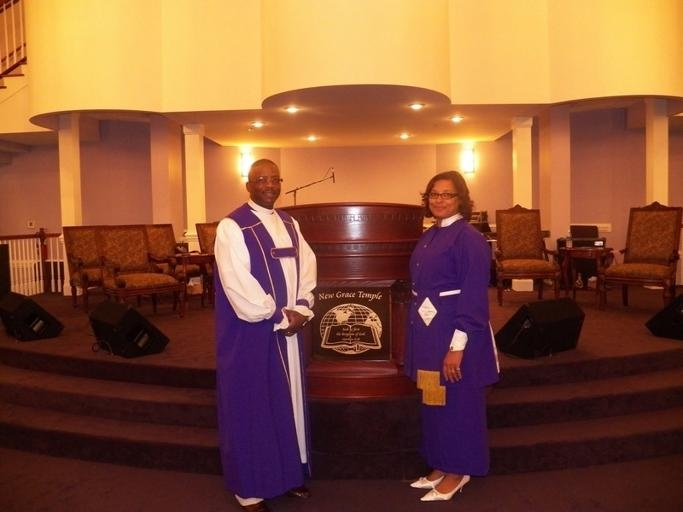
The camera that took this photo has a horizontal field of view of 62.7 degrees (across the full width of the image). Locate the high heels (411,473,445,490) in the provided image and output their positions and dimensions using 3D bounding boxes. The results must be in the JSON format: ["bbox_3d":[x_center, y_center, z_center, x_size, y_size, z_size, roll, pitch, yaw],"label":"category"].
[{"bbox_3d":[0.655,1.749,4.344,0.257,0.065,0.105,-11,18,9],"label":"high heels"}]

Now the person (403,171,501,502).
[{"bbox_3d":[0.810,0.484,4.164,0.677,2.216,0.442,1,8,12],"label":"person"}]

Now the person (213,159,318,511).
[{"bbox_3d":[-0.557,0.574,4.154,0.753,2.570,0.586,-4,8,-20],"label":"person"}]

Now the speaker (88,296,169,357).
[{"bbox_3d":[-2.196,0.734,5.700,0.800,0.492,0.435,2,8,24],"label":"speaker"}]

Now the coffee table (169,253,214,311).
[{"bbox_3d":[-2.139,0.357,7.986,0.336,0.734,0.807,1,3,28],"label":"coffee table"}]

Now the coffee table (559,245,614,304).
[{"bbox_3d":[3.547,0.338,8.206,1.005,0.966,0.917,0,3,19],"label":"coffee table"}]

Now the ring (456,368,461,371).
[{"bbox_3d":[0.831,0.805,4.000,0.020,0.005,0.020,-2,6,0],"label":"ring"}]

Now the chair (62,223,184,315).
[{"bbox_3d":[-3.013,0.178,7.911,1.278,1.210,2.065,-6,9,-37],"label":"chair"}]

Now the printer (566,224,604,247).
[{"bbox_3d":[3.533,-0.290,8.111,0.386,0.277,0.377,0,-3,16],"label":"printer"}]

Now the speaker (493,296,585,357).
[{"bbox_3d":[1.930,0.524,5.547,0.822,0.541,0.556,-6,25,-20],"label":"speaker"}]
